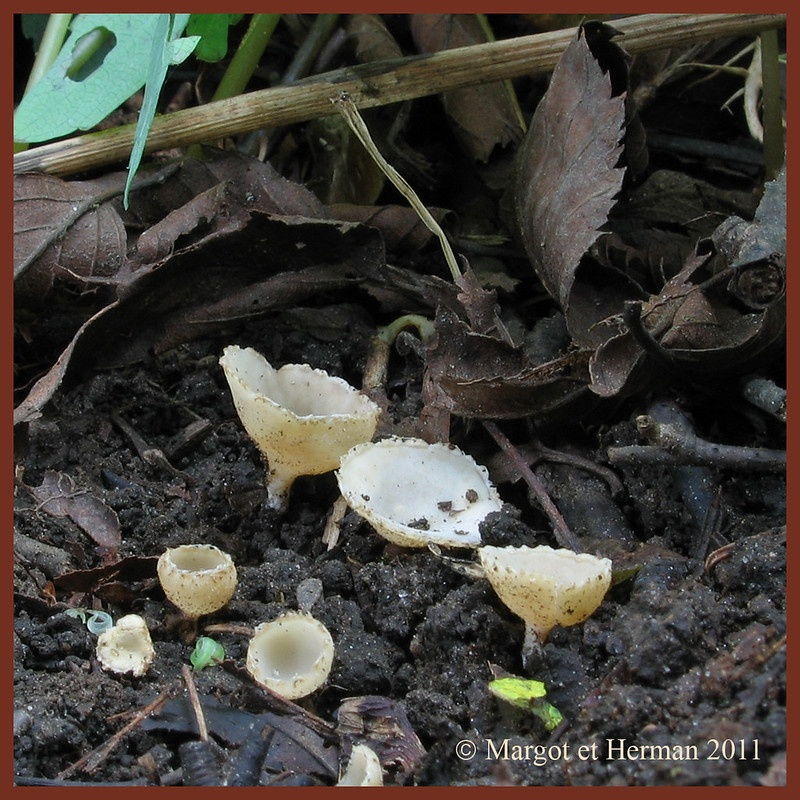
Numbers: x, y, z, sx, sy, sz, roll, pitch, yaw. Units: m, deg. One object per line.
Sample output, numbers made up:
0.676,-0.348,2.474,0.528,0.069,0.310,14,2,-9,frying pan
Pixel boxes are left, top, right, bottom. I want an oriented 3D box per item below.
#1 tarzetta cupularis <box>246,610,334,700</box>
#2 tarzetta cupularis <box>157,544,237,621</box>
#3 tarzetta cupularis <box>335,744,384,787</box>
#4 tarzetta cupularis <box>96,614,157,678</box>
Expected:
-0.207,0.477,1.790,0.159,0.063,0.156,29,65,17,tarzetta cupularis
-0.412,0.364,1.881,0.145,0.124,0.147,5,23,-24,tarzetta cupularis
-0.076,0.603,1.598,0.066,0.062,0.075,-21,66,30,tarzetta cupularis
-0.525,0.461,1.835,0.118,0.113,0.112,11,34,-35,tarzetta cupularis
